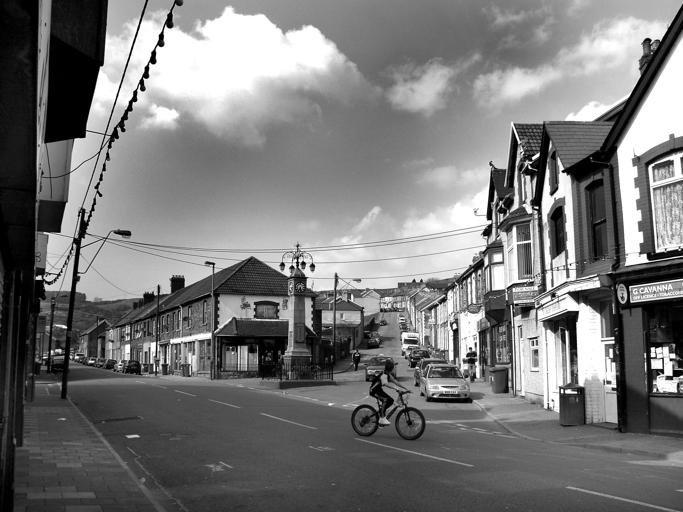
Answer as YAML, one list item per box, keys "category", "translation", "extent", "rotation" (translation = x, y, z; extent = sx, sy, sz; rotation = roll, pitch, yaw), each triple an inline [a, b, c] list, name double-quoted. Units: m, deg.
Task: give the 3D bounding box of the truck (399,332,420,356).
- category: "truck"
  translation: [6.890, 8.620, 68.928]
  extent: [1.380, 1.638, 2.984]
  rotation: [0, -10, 0]

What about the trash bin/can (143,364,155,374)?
- category: "trash bin/can"
  translation: [-18.628, 10.782, 66.632]
  extent: [0.821, 1.010, 2.921]
  rotation: [6, -15, -28]

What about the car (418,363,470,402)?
- category: "car"
  translation: [4.297, 5.204, 28.813]
  extent: [1.672, 1.675, 2.609]
  rotation: [0, -13, -2]

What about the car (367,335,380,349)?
- category: "car"
  translation: [4.038, 10.556, 85.426]
  extent: [1.104, 1.059, 2.972]
  rotation: [0, -3, 8]

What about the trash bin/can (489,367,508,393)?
- category: "trash bin/can"
  translation: [7.270, 5.632, 31.825]
  extent: [0.850, 1.457, 0.988]
  rotation: [3, -9, -9]

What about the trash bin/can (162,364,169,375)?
- category: "trash bin/can"
  translation: [-14.655, 9.307, 57.678]
  extent: [0.451, 0.937, 1.743]
  rotation: [4, -14, -20]

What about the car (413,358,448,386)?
- category: "car"
  translation: [4.337, 5.966, 36.245]
  extent: [1.112, 0.953, 2.490]
  rotation: [0, -15, -4]

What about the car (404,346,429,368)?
- category: "car"
  translation: [6.165, 8.108, 56.258]
  extent: [1.326, 1.145, 3.158]
  rotation: [1, -4, 2]

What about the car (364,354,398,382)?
- category: "car"
  translation: [2.134, 6.455, 41.795]
  extent: [1.838, 1.542, 4.341]
  rotation: [-2, -17, 3]

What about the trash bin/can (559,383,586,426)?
- category: "trash bin/can"
  translation: [6.735, 4.263, 20.106]
  extent: [0.622, 1.109, 0.630]
  rotation: [-2, -9, 5]

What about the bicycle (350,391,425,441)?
- category: "bicycle"
  translation: [1.191, 3.959, 17.286]
  extent: [1.972, 1.358, 1.005]
  rotation: [-5, -8, 19]
